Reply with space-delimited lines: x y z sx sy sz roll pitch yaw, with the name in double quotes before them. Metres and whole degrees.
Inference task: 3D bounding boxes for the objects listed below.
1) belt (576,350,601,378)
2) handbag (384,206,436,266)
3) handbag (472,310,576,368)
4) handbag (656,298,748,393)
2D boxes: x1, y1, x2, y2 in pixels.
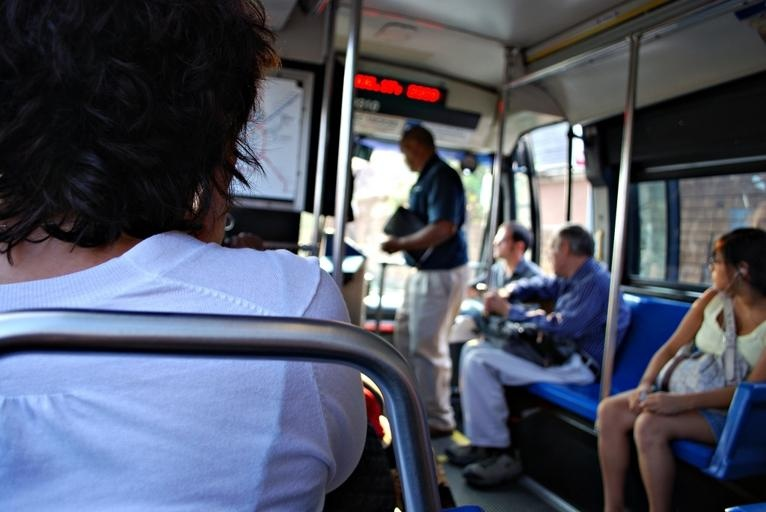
"belt" 1.209 0.627 3.482 0.136 0.049 0.098 48 10 16
"handbag" 0.191 -0.110 4.179 0.396 0.380 0.094 -31 -15 34
"handbag" 0.861 0.520 3.645 0.433 0.142 0.274 16 4 34
"handbag" 1.448 0.421 2.677 0.243 0.434 0.310 36 -15 -31
